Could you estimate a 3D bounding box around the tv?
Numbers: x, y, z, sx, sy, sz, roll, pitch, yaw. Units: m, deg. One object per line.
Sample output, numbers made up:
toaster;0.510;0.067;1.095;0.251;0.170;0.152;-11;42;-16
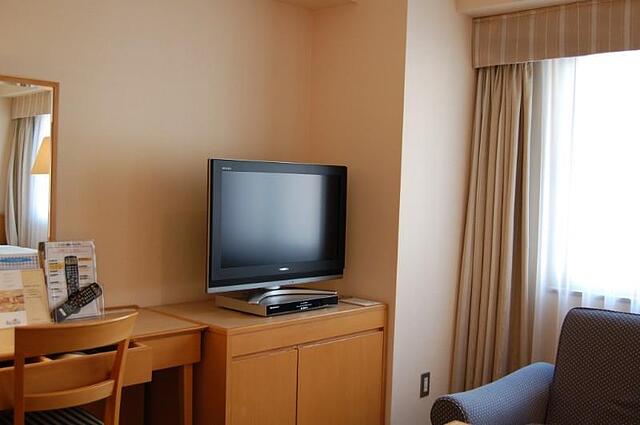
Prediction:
tv;-0.319;0.125;3.242;0.997;0.832;0.103;-1;7;-28
